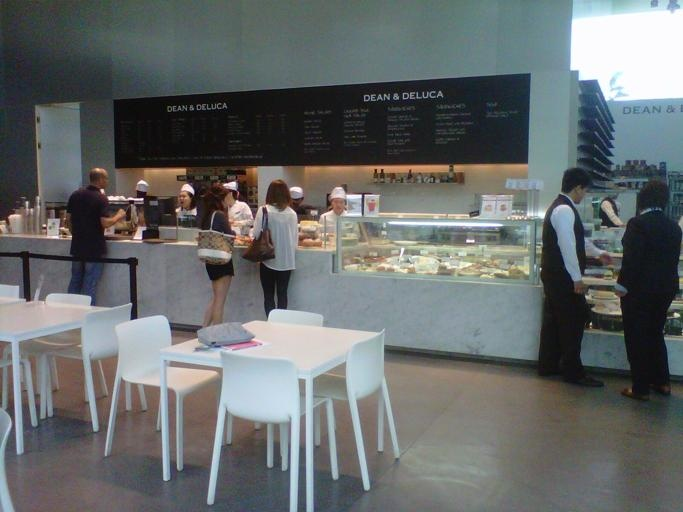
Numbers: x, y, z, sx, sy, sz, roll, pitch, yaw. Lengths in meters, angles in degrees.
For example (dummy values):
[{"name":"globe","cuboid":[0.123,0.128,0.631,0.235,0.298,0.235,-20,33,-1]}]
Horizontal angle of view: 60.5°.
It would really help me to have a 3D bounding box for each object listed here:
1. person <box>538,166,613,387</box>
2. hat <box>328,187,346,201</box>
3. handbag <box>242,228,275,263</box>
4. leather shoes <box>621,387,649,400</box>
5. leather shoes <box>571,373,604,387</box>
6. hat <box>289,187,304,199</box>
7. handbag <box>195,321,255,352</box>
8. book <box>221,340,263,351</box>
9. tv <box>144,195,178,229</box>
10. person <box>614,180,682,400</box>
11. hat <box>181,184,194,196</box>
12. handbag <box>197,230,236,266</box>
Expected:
[{"name":"person","cuboid":[2.162,0.185,5.480,0.614,1.952,0.507,10,16,38]},{"name":"hat","cuboid":[-0.043,-0.783,7.312,0.169,0.128,0.233,0,-1,-3]},{"name":"handbag","cuboid":[-0.885,-0.098,6.319,0.328,0.435,0.167,6,8,28]},{"name":"leather shoes","cuboid":[2.547,1.198,5.105,0.076,0.090,0.220,-9,15,-41]},{"name":"leather shoes","cuboid":[2.267,1.144,5.426,0.307,0.129,0.118,-2,-1,24]},{"name":"hat","cuboid":[-0.604,-0.855,7.882,0.167,0.128,0.244,6,8,-3]},{"name":"handbag","cuboid":[-0.793,0.537,3.964,0.258,0.086,0.187,-6,15,-39]},{"name":"book","cuboid":[-0.656,0.600,3.926,0.265,0.018,0.124,-9,16,-34]},{"name":"tv","cuboid":[-2.265,-0.515,7.527,0.482,0.484,0.363,1,2,9]},{"name":"person","cuboid":[2.678,0.295,5.072,0.494,1.849,0.499,9,16,36]},{"name":"hat","cuboid":[-2.164,-0.924,8.230,0.181,0.175,0.217,4,3,-16]},{"name":"handbag","cuboid":[-1.283,-0.086,6.119,0.448,0.470,0.306,2,-1,0]}]
